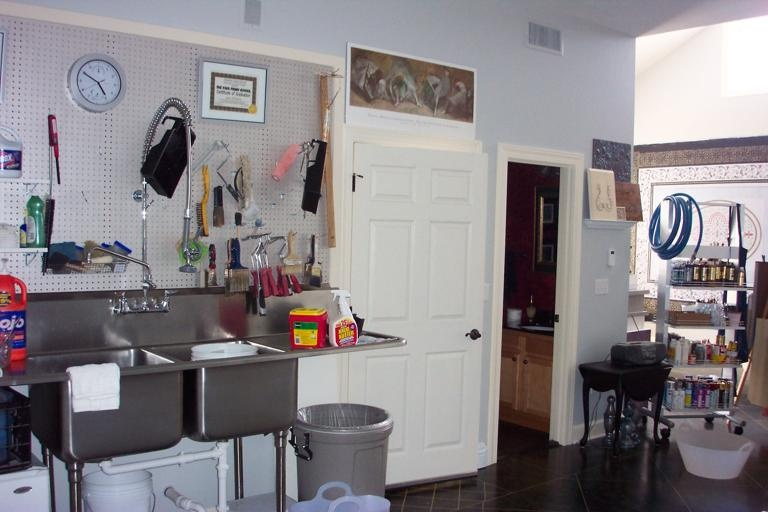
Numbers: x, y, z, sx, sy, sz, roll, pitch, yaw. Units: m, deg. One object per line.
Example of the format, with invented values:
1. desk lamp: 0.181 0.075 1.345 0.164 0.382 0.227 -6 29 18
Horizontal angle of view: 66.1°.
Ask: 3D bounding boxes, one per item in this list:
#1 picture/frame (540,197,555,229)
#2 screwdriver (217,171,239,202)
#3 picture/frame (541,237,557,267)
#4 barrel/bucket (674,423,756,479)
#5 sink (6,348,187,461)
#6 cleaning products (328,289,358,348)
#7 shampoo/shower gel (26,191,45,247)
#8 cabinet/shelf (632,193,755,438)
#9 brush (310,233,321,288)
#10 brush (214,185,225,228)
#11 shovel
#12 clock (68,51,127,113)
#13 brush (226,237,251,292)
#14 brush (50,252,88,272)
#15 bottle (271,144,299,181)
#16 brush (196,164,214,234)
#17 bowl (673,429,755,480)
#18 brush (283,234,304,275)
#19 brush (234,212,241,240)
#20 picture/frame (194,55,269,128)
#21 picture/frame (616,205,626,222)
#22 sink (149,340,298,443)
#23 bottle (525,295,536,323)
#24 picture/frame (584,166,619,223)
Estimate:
1. picture/frame: 1.747 -0.471 6.247 0.022 0.288 0.207 -4 8 -44
2. screwdriver: -1.028 -0.451 3.858 0.045 0.213 0.057 -37 13 18
3. picture/frame: 1.738 -0.031 6.243 0.208 0.299 0.051 7 8 44
4. barrel/bucket: 2.835 1.714 5.085 0.626 0.294 0.649 1 -1 0
5. sink: -1.542 0.775 3.264 0.559 0.394 0.739 2 -5 -32
6. cleaning products: -0.252 0.389 3.730 0.187 0.312 0.285 1 6 -2
7. shampoo/shower gel: -1.991 -0.199 3.362 0.095 0.286 0.103 -2 7 -31
8. cabinet/shelf: 3.312 0.540 6.114 0.866 2.314 0.801 0 3 20
9. brush: -0.469 0.049 4.075 0.090 0.417 0.041 5 33 -2
10. brush: -1.073 -0.322 3.822 0.071 0.263 0.076 0 6 -15
11. shovel: -0.741 0.129 3.854 0.328 0.555 0.129 -3 -5 -25
12. clock: -1.739 -1.046 3.538 0.333 0.397 0.066 -9 0 -34
13. brush: -0.950 0.062 3.821 0.156 0.347 0.103 0 6 -13
14. brush: -1.877 0.048 3.506 0.161 0.103 0.039 19 0 -11
15. bottle: -0.652 -0.638 3.991 0.226 0.261 0.171 -1 6 -22
16. brush: -1.146 -0.354 3.782 0.065 0.460 0.134 0 6 -16
17. bowl: 2.837 1.700 5.054 0.607 0.276 0.631 -1 0 0
18. brush: -0.626 -0.025 4.006 0.179 0.258 0.181 7 7 30
19. brush: -0.959 -0.204 3.886 0.039 0.169 0.053 0 6 -14
20. picture/frame: -1.025 -1.078 3.867 0.488 0.426 0.038 2 -4 -23
21. picture/frame: 2.304 -0.412 5.741 0.161 0.189 0.019 1 -5 -32
22. sink: -0.902 0.686 3.499 0.616 0.397 0.618 -2 4 -33
23. bottle: 1.569 0.563 6.288 0.117 0.287 0.259 3 6 13
24. picture/frame: 2.048 -0.580 5.595 0.519 0.710 0.073 2 -6 -34
